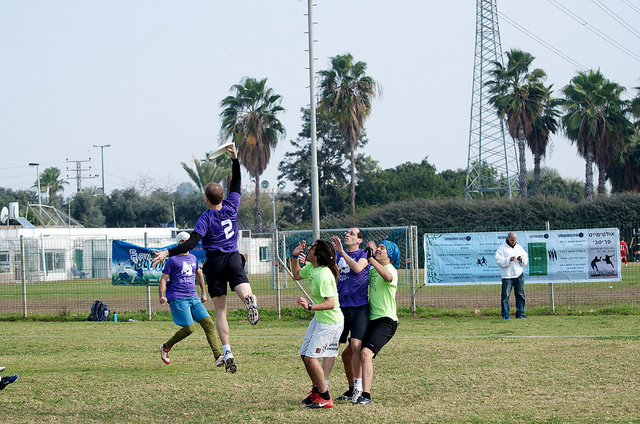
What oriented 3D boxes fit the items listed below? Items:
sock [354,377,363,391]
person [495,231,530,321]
[{"bbox_3d":[1.129,4.869,30.909,0.270,0.439,0.287,-1,-3,3],"label":"sock"},{"bbox_3d":[6.933,2.263,39.100,1.140,3.164,0.926,-4,-4,9],"label":"person"}]
